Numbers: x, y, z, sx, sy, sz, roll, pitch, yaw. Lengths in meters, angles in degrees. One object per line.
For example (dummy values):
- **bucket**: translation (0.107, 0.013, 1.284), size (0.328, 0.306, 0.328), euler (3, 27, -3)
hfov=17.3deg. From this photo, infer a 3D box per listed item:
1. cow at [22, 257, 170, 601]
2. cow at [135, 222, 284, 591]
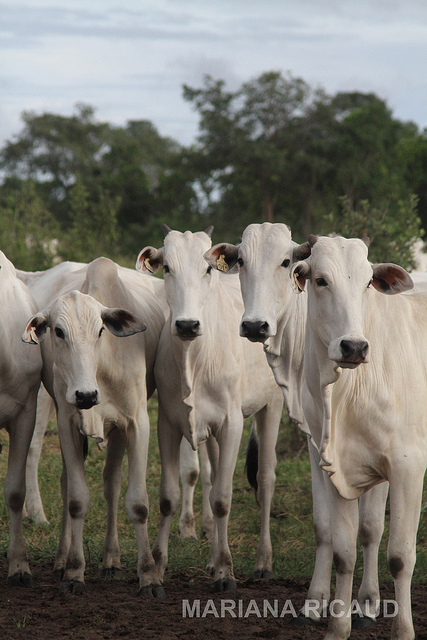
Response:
- **cow**: translation (-0.810, 0.634, 9.917), size (0.943, 2.178, 2.554), euler (1, 8, -4)
- **cow**: translation (-0.013, 0.695, 9.906), size (0.679, 2.447, 2.887), euler (5, -1, 16)
